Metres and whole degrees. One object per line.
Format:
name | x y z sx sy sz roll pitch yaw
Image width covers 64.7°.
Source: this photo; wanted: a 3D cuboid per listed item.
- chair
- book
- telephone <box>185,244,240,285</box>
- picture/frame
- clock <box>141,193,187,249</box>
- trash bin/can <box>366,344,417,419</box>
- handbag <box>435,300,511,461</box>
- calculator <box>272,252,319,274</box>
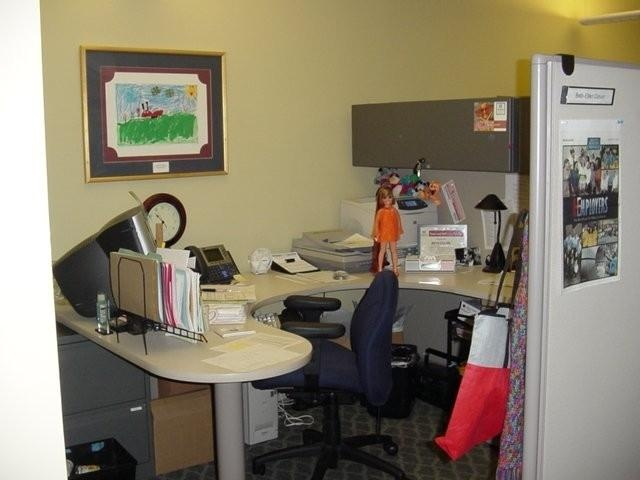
chair | 0.144 0.634 3.185 0.976 1.405 1.100 2 0 3
book | -0.710 0.211 2.300 0.414 0.341 0.155 10 15 36
telephone | -0.675 0.140 3.210 0.339 0.357 0.123 -13 -2 27
picture/frame | -1.122 -0.837 3.295 0.891 0.832 0.043 -3 5 -34
clock | -0.998 -0.127 3.191 0.318 0.380 0.059 -6 9 -36
trash bin/can | 0.434 0.983 3.603 0.338 0.487 0.368 5 -5 -9
handbag | 0.613 0.543 1.905 0.348 0.540 0.137 -8 12 -24
calculator | -0.199 0.173 3.652 0.184 0.074 0.190 -6 12 -39
